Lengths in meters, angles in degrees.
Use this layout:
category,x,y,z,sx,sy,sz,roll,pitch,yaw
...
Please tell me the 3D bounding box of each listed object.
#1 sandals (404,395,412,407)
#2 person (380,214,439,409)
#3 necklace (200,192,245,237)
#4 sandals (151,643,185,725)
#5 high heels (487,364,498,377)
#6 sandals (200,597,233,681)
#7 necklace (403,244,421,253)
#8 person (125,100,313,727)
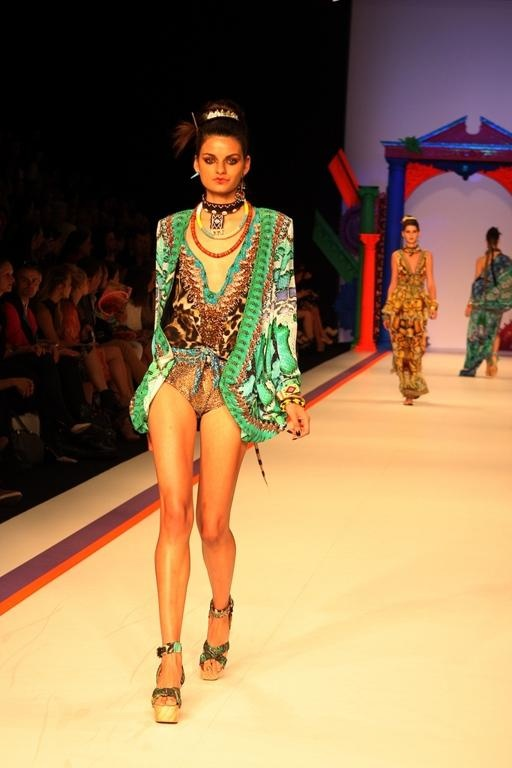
category,x,y,z,sx,sy,sz,roll,pitch,yaw
sandals,1.656,0.189,6.975,0.069,0.091,0.103,1,-3,-2
person,1.767,-0.908,7.353,0.598,1.822,0.923,3,1,13
necklace,-0.080,-0.409,1.540,0.103,0.079,0.113,1,-3,2
sandals,-0.189,0.625,1.354,0.057,0.167,0.045,-2,-31,-5
high heels,3.537,-0.203,9.592,0.144,0.171,0.265,3,1,18
sandals,-0.108,0.631,1.617,0.063,0.209,0.037,4,-17,0
necklace,1.796,-1.551,7.410,0.222,0.081,0.193,-2,10,-3
person,-0.076,0.008,1.515,0.408,0.963,0.398,2,1,-16
